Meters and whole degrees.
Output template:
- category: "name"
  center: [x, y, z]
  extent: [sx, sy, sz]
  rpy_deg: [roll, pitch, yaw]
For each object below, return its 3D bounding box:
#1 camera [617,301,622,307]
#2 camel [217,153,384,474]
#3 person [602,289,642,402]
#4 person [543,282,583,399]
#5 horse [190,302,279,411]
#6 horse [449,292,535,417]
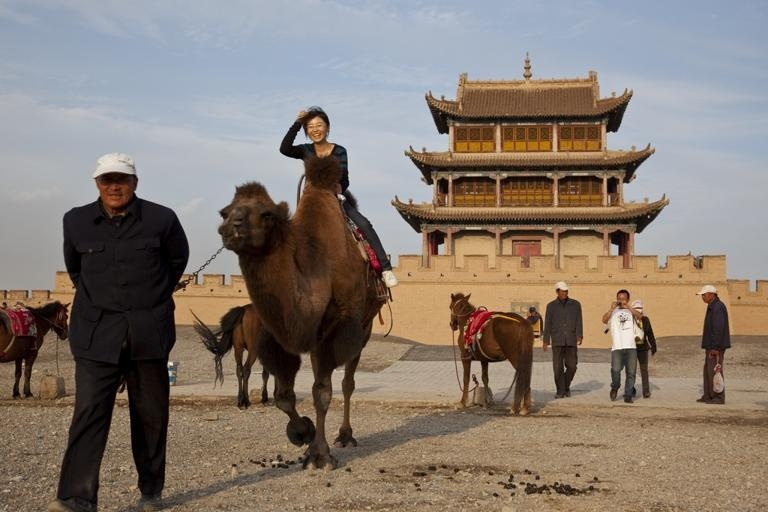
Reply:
- category: "camera"
  center: [5.130, 1.006, 20.421]
  extent: [0.113, 0.098, 0.100]
  rpy_deg: [2, -2, 12]
- category: "camel"
  center: [-1.170, 0.772, 13.617]
  extent: [1.078, 4.599, 2.812]
  rpy_deg: [1, -2, 28]
- category: "person"
  center: [5.185, 1.910, 20.498]
  extent: [0.741, 2.367, 1.515]
  rpy_deg: [2, -2, 12]
- category: "person"
  center: [3.970, 1.845, 21.158]
  extent: [0.893, 2.490, 0.952]
  rpy_deg: [0, -1, 14]
- category: "horse"
  center: [-3.152, 2.227, 19.803]
  extent: [1.422, 2.690, 3.271]
  rpy_deg: [0, 1, 2]
- category: "horse"
  center: [2.246, 1.929, 19.053]
  extent: [1.770, 2.280, 3.321]
  rpy_deg: [0, -1, -7]
